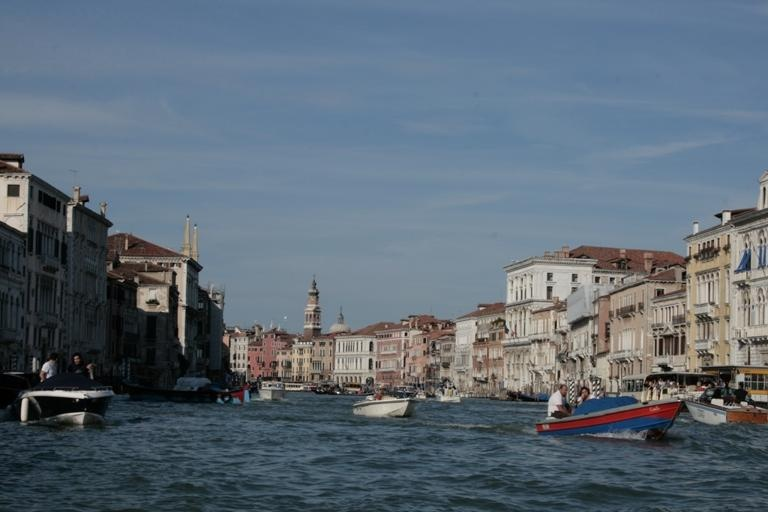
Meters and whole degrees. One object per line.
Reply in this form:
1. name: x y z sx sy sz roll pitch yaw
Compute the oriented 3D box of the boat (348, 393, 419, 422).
1. boat: -0.030 10.097 104.587 4.076 1.533 1.850 -6 -11 33
